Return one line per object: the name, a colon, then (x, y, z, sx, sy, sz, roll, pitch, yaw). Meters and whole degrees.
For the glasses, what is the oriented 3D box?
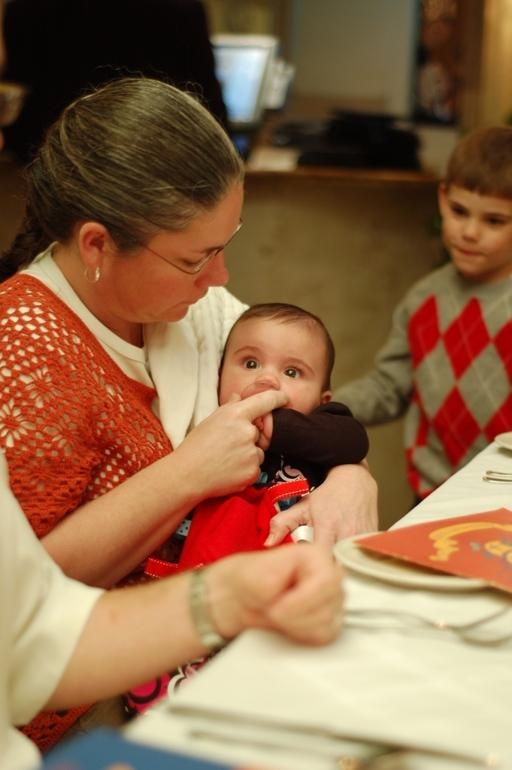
glasses: (-0.129, -0.223, 1.071, 0.110, 0.033, 0.110, -43, 81, -10)
